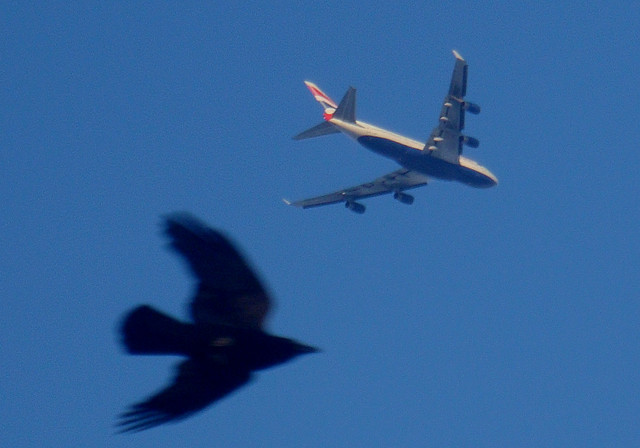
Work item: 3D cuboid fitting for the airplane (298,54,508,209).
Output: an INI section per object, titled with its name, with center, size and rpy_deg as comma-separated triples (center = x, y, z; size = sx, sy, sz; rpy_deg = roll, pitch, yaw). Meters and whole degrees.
[airplane]
center = 8.215, -3.375, 130.245
size = 15.784, 4.521, 19.702
rpy_deg = 22, -48, -26
